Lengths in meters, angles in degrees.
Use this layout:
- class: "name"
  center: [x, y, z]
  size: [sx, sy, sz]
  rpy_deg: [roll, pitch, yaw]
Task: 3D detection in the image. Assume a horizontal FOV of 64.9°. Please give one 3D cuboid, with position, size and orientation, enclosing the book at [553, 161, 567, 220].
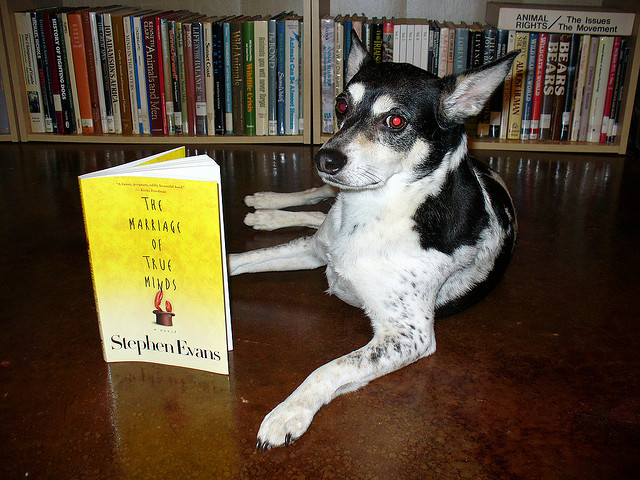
- class: "book"
  center: [1.463, -0.288, 3.063]
  size: [0.061, 0.058, 0.544]
  rpy_deg: [24, 46, 6]

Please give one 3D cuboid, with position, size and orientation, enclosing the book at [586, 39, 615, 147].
- class: "book"
  center: [2.042, -1.082, 3.680]
  size: [0.136, 0.707, 0.091]
  rpy_deg: [8, 25, 19]

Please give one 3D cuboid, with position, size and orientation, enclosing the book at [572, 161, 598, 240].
- class: "book"
  center: [1.545, -0.217, 2.930]
  size: [0.085, 0.088, 0.816]
  rpy_deg: [30, 36, 4]

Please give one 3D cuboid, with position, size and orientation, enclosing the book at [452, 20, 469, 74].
- class: "book"
  center: [1.112, -1.452, 3.819]
  size: [0.124, 0.310, 0.342]
  rpy_deg: [10, 36, 27]
